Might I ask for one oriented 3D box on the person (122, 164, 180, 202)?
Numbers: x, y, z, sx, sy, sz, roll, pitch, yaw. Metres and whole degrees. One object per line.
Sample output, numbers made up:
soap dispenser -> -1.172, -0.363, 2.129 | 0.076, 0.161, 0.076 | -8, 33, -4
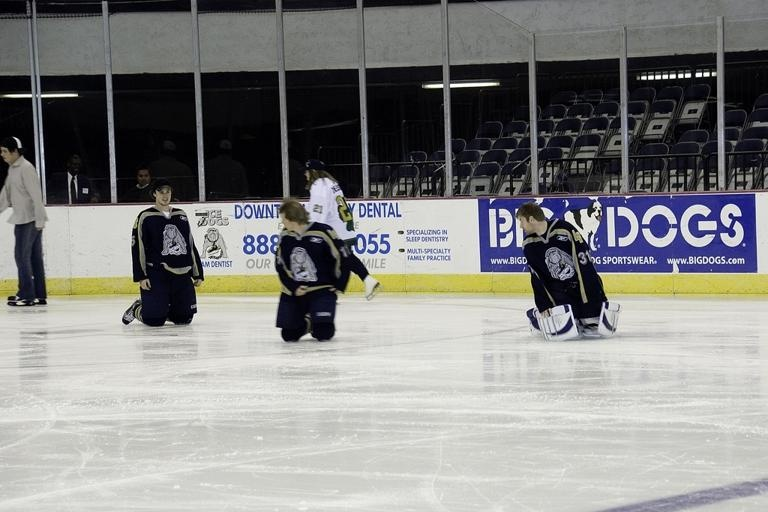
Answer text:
person -> -3.533, -1.101, 16.639 | 0.824, 0.398, 0.325 | -12, -10, -4

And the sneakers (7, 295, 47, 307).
sneakers -> -5.050, 0.648, 15.416 | 0.584, 0.223, 0.187 | 1, 2, 0

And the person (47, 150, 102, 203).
person -> -4.990, -1.262, 17.687 | 0.746, 1.312, 0.486 | -3, -19, -18

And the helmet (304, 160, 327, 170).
helmet -> -0.853, -1.161, 13.578 | 0.300, 0.168, 0.195 | 0, 0, -1

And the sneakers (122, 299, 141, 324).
sneakers -> -3.163, 0.703, 13.649 | 0.101, 0.289, 0.124 | 27, 12, -29

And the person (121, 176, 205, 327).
person -> -2.586, -0.008, 12.979 | 0.789, 1.726, 0.347 | -4, 15, -11

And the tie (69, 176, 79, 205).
tie -> -5.034, -1.081, 17.655 | 0.156, 0.416, 0.183 | -4, 15, -10
